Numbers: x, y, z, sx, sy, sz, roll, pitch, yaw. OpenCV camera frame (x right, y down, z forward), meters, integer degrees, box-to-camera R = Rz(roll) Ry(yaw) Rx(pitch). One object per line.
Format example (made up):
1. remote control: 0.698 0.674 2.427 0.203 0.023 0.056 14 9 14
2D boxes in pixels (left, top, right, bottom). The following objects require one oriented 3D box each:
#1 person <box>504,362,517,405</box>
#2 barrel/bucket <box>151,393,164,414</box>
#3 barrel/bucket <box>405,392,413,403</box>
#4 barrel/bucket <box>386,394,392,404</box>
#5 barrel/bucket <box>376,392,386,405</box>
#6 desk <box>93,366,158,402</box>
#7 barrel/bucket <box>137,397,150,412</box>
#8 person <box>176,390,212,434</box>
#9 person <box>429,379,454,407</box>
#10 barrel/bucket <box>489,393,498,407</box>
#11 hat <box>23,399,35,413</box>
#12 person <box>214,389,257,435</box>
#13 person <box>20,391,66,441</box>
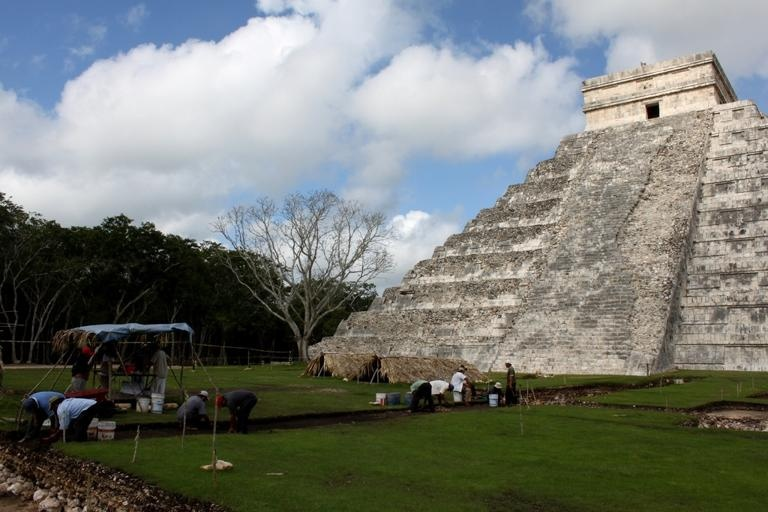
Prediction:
1. person: 4.422 4.391 20.509 0.391 1.393 1.743 -2 -12 13
2. barrel/bucket: -6.393 4.126 16.590 0.486 0.495 0.470 0 -10 0
3. barrel/bucket: 0.792 4.678 19.609 0.352 0.317 0.332 0 -11 0
4. barrel/bucket: 0.147 4.666 19.441 0.178 0.308 0.087 10 -15 -36
5. barrel/bucket: -0.110 4.654 19.406 0.269 0.328 0.364 -7 -10 39
6. desk: -7.821 3.634 17.829 1.663 0.753 1.107 0 -3 25
7. barrel/bucket: -6.900 4.189 16.726 0.506 0.398 0.249 -6 -14 31
8. person: -4.981 3.923 15.423 0.788 0.857 0.857 18 -14 -36
9. person: 1.834 4.533 19.861 1.157 0.652 0.737 -4 1 -13
10. barrel/bucket: 3.608 4.699 19.440 0.295 0.426 0.393 0 -12 6
11. hat: -8.513 3.561 14.118 0.213 0.322 0.258 12 -16 -42
12. person: -3.709 3.895 14.980 1.082 0.946 0.754 2 -17 -24
13. person: -8.376 3.744 14.413 0.809 0.904 0.907 -4 0 43
